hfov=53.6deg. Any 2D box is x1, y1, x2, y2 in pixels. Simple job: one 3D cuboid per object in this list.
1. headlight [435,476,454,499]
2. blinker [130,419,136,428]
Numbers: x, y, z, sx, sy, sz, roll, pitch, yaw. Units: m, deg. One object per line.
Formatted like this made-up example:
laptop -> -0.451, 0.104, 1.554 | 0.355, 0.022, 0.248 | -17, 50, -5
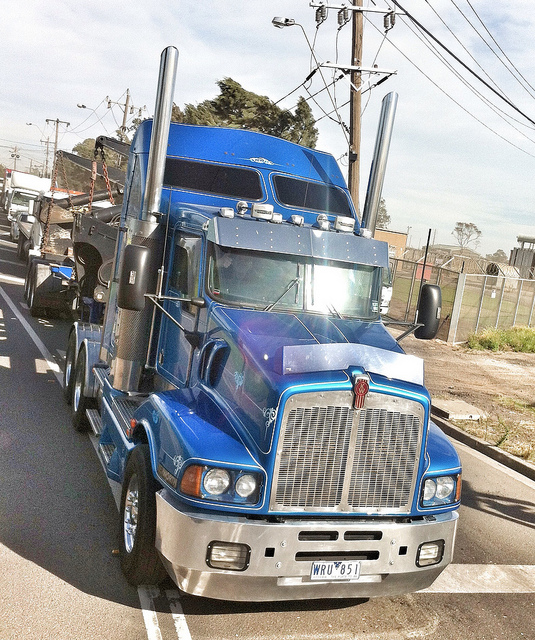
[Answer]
headlight -> 1.180, 1.113, 3.530 | 0.121, 0.159, 0.047 | 3, 0, -25
blinker -> -1.032, 0.791, 4.074 | 0.044, 0.094, 0.074 | -1, -5, -17
